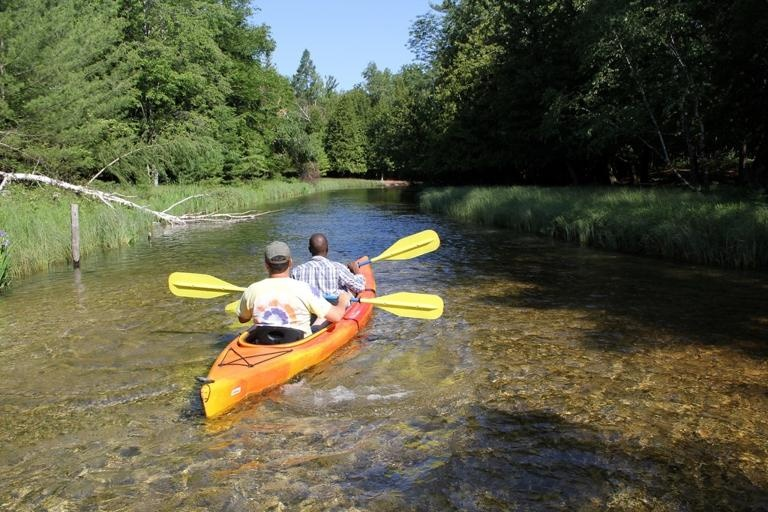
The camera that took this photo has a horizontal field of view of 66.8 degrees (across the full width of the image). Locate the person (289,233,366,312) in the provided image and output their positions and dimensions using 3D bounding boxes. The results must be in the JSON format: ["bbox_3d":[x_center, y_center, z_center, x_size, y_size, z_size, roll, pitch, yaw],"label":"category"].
[{"bbox_3d":[-0.789,0.111,10.387,0.916,0.738,1.531,0,13,9],"label":"person"}]

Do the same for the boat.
[{"bbox_3d":[-1.422,1.325,8.901,1.017,0.436,2.779,10,25,22],"label":"boat"}]

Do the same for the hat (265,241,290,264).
[{"bbox_3d":[-1.510,-0.048,8.361,0.339,0.292,0.274,-3,11,-10],"label":"hat"}]
